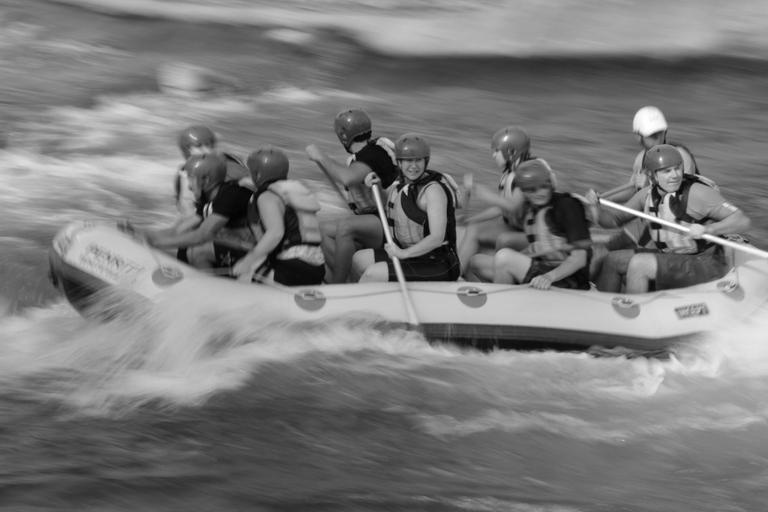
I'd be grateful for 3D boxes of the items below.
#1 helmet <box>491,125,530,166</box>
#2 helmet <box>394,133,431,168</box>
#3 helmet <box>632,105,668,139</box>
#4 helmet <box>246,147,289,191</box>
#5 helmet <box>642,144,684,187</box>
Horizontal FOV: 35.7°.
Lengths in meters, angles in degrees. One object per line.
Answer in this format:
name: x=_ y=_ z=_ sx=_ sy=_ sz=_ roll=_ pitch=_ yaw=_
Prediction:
helmet: x=1.410 y=-1.219 z=13.206 sx=0.576 sy=0.441 sz=0.384 roll=0 pitch=14 yaw=7
helmet: x=0.286 y=-1.124 z=12.591 sx=0.335 sy=0.253 sz=0.369 roll=0 pitch=22 yaw=-1
helmet: x=3.096 y=-1.589 z=13.989 sx=0.413 sy=0.290 sz=0.414 roll=-10 pitch=22 yaw=8
helmet: x=-1.244 y=-0.910 z=12.413 sx=0.417 sy=0.415 sz=0.283 roll=-3 pitch=18 yaw=-7
helmet: x=2.985 y=-0.972 z=12.711 sx=0.401 sy=0.424 sz=0.377 roll=2 pitch=17 yaw=10
